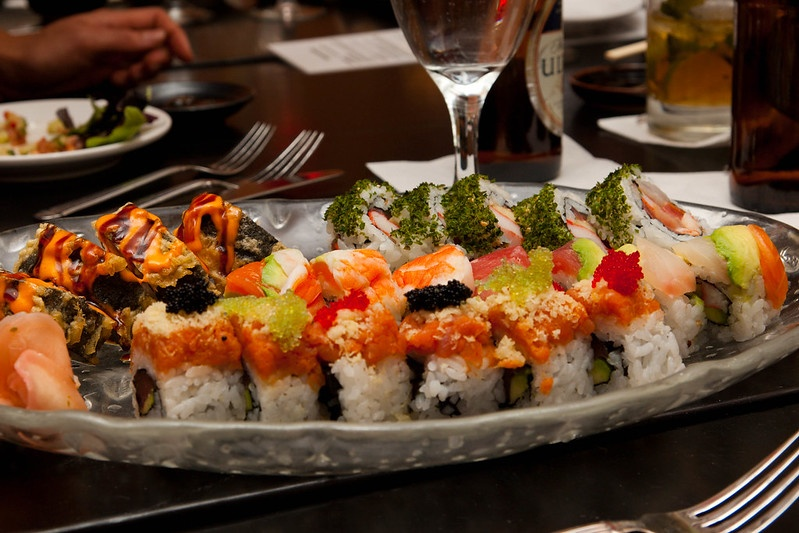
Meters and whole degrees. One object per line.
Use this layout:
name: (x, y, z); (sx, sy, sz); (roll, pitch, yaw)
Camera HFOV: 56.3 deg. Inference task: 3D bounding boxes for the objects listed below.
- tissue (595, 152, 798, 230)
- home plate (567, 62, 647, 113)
tissue: (0.862, -0.200, 2.026); (0.250, 0.093, 0.319); (-12, 27, -35)
home plate: (0.799, -0.679, 2.813); (0.239, 0.068, 0.235); (0, 25, 4)
